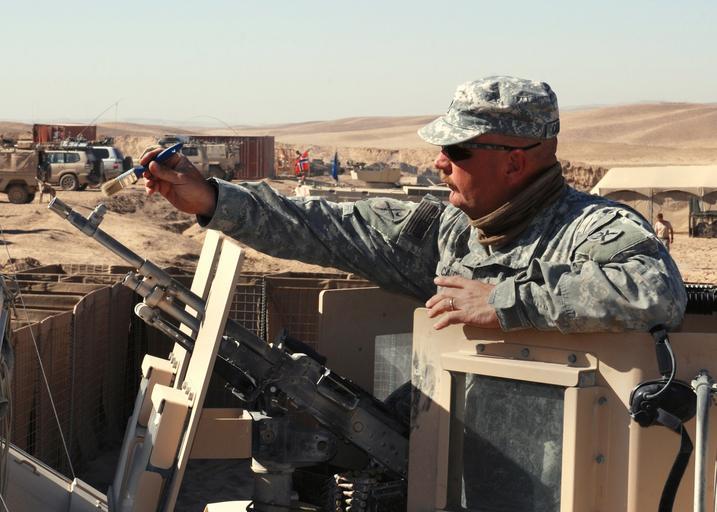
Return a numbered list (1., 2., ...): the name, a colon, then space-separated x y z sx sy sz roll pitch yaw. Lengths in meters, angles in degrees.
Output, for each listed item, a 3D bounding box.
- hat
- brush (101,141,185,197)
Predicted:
1. hat: 0.620 -0.698 4.645 0.746 0.250 0.484 -1 15 0
2. brush: -1.110 -0.441 4.946 0.506 0.080 0.116 -32 38 -15
